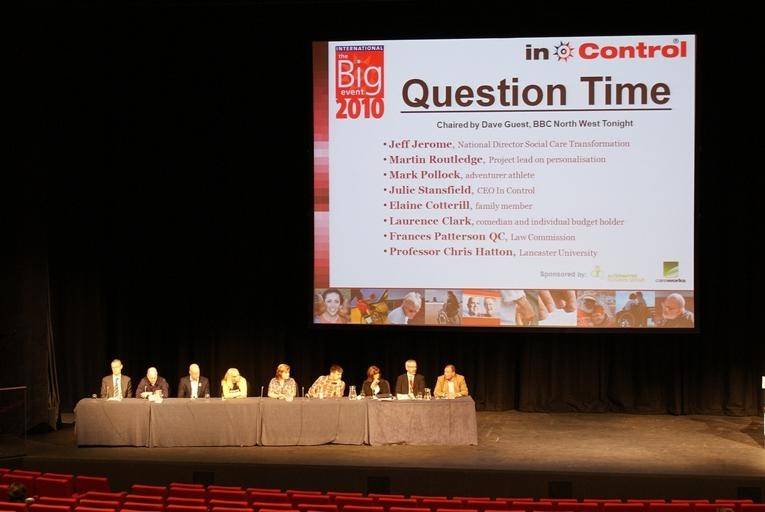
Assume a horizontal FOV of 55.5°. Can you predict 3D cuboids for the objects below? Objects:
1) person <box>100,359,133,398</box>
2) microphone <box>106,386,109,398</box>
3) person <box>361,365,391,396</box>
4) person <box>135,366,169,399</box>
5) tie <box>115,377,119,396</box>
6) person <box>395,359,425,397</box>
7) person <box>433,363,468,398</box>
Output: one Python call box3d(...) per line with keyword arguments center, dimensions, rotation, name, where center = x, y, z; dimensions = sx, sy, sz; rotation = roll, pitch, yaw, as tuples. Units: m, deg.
box3d(center=(-4.458, 2.052, 12.130), dimensions=(0.450, 0.625, 0.728), rotation=(-1, -7, -4), name="person")
box3d(center=(-4.588, 2.267, 12.069), dimensions=(0.048, 0.134, 0.210), rotation=(1, -8, -20), name="microphone")
box3d(center=(-0.112, 2.192, 12.320), dimensions=(0.514, 0.777, 0.267), rotation=(2, -25, -9), name="person")
box3d(center=(-3.825, 2.102, 12.035), dimensions=(0.505, 0.482, 0.756), rotation=(1, -8, -19), name="person")
box3d(center=(-4.438, 2.173, 12.139), dimensions=(0.098, 0.289, 0.238), rotation=(1, -7, -22), name="tie")
box3d(center=(0.469, 2.076, 12.392), dimensions=(0.470, 0.599, 1.241), rotation=(-1, -7, 1), name="person")
box3d(center=(1.150, 2.173, 12.316), dimensions=(0.563, 0.977, 0.532), rotation=(-1, -16, 3), name="person")
